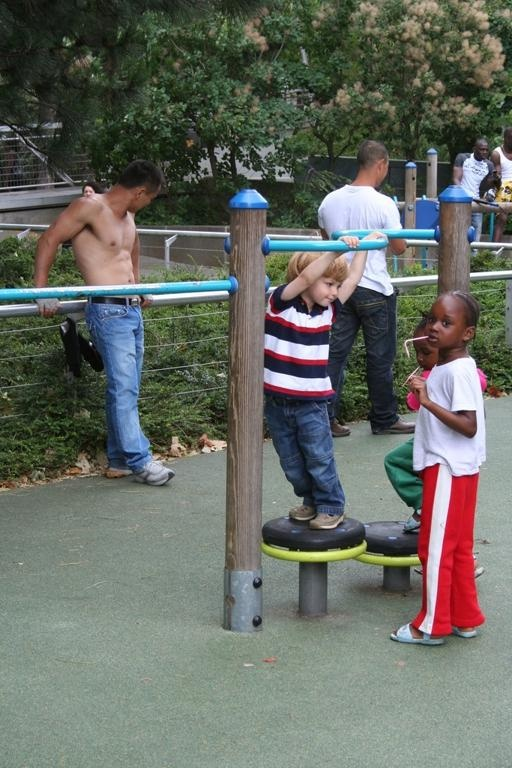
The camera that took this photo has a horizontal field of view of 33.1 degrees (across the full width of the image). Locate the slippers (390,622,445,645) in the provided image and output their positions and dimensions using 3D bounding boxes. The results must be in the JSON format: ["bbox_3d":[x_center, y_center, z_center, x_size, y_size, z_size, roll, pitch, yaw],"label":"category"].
[{"bbox_3d":[0.530,0.797,2.783,0.144,0.042,0.069,5,-1,16],"label":"slippers"}]

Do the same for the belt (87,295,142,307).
[{"bbox_3d":[-0.782,-0.456,4.767,0.292,0.055,0.115,-1,7,-9],"label":"belt"}]

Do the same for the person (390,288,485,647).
[{"bbox_3d":[0.610,0.271,2.787,0.289,1.131,0.313,3,9,14],"label":"person"}]

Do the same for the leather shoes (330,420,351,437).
[{"bbox_3d":[0.604,0.315,6.202,0.213,0.121,0.084,0,6,-26],"label":"leather shoes"}]

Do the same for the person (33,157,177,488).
[{"bbox_3d":[-0.861,-0.342,4.850,0.748,1.814,0.592,-1,9,-12],"label":"person"}]

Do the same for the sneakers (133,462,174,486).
[{"bbox_3d":[-0.623,0.506,4.895,0.273,0.111,0.102,-1,16,33],"label":"sneakers"}]

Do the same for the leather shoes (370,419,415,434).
[{"bbox_3d":[0.992,0.320,6.243,0.339,0.133,0.112,-4,8,-6],"label":"leather shoes"}]

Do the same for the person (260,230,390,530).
[{"bbox_3d":[0.172,0.021,2.998,0.289,0.916,0.393,1,9,5],"label":"person"}]
